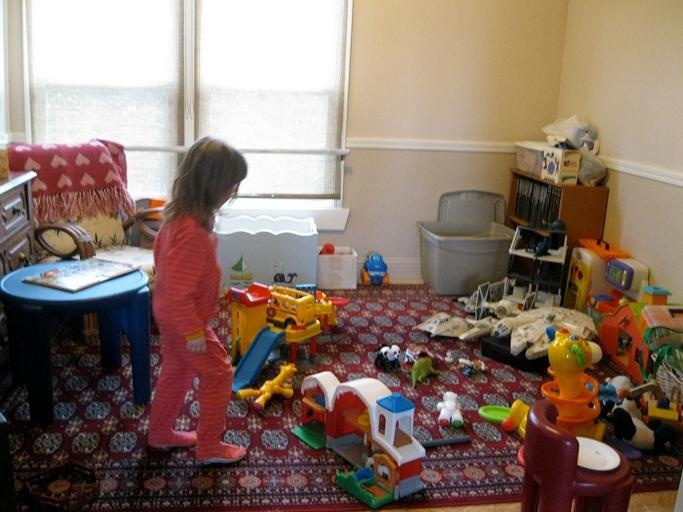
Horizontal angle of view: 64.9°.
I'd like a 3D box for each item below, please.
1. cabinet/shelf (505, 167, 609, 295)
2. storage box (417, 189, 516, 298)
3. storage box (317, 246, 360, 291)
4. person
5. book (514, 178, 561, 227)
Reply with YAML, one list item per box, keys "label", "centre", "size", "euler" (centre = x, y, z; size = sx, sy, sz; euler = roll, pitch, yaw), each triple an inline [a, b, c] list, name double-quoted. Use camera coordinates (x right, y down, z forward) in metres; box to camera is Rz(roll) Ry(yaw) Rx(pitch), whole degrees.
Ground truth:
- label: "cabinet/shelf"
  centre: [1.615, -0.333, 4.176]
  size: [0.261, 0.696, 0.763]
  euler: [-15, 14, -5]
- label: "storage box"
  centre: [0.961, -0.134, 4.321]
  size: [0.623, 0.817, 0.883]
  euler: [1, 9, 2]
- label: "storage box"
  centre: [-0.034, 0.120, 4.290]
  size: [0.301, 0.265, 0.324]
  euler: [1, 13, -2]
- label: "person"
  centre: [-0.604, 0.207, 2.209]
  size: [0.439, 1.364, 0.260]
  euler: [-1, 11, -10]
- label: "book"
  centre: [1.498, -0.410, 4.071]
  size: [0.124, 0.284, 0.308]
  euler: [-8, 24, -21]
